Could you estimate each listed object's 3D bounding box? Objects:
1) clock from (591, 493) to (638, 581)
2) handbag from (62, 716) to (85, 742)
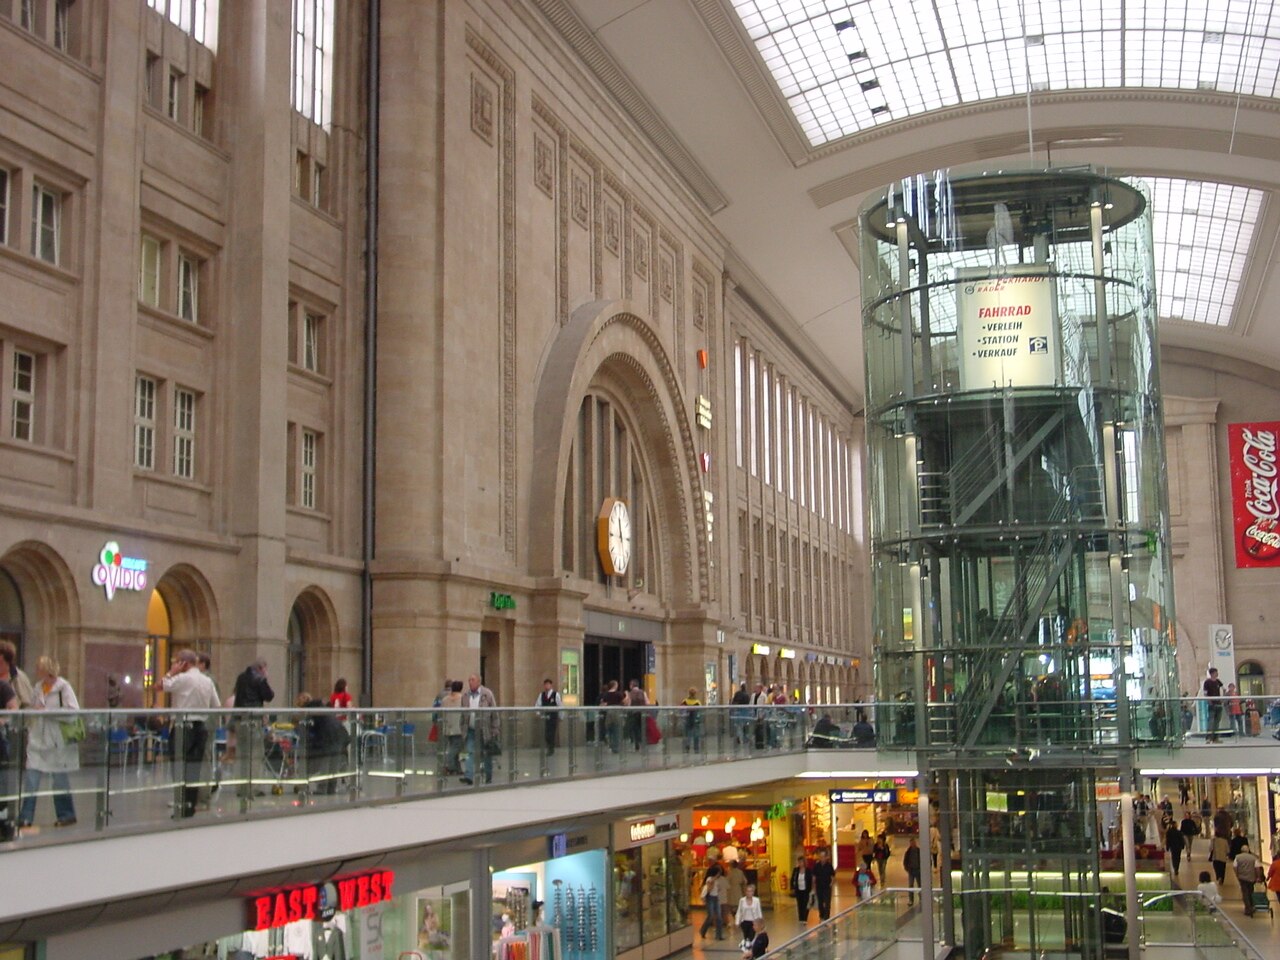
[{"bbox_3d":[-0.716,1.706,37.880,0.376,2.278,2.160,-4,-7,15],"label":"clock"},{"bbox_3d":[-6.069,2.677,13.776,0.049,0.228,0.220,0,0,33],"label":"handbag"}]
